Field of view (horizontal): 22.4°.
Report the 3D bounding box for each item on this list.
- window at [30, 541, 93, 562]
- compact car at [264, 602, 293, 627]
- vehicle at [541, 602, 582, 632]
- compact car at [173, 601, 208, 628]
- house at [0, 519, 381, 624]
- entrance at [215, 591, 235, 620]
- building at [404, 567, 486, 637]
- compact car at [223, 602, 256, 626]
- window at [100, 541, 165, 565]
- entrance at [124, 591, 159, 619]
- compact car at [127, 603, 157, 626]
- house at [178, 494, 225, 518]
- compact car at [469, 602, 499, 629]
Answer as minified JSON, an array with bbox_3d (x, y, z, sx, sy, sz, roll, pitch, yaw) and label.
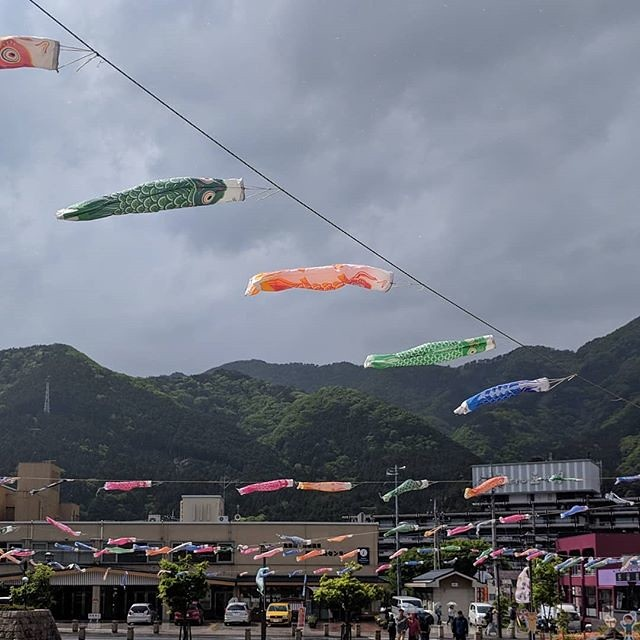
[{"bbox_3d":[-21.752,19.138,135.219,4.582,1.394,0.430,0,-46,-3],"label":"window"},{"bbox_3d":[-3.434,23.092,128.398,1.867,1.854,2.662,-2,-14,0],"label":"compact car"},{"bbox_3d":[18.546,22.701,125.249,3.890,1.527,2.027,0,-4,-13],"label":"vehicle"},{"bbox_3d":[-10.593,22.799,127.081,2.400,1.387,4.409,0,-11,3],"label":"compact car"},{"bbox_3d":[-11.718,20.483,135.014,29.978,8.508,4.745,0,-17,-5],"label":"house"},{"bbox_3d":[-8.187,23.192,135.099,1.877,1.087,2.710,0,2,0],"label":"entrance"},{"bbox_3d":[10.782,23.521,134.600,5.478,3.776,8.877,2,-19,-4],"label":"building"},{"bbox_3d":[-6.702,23.033,128.058,1.530,1.807,1.880,-16,-20,41],"label":"compact car"},{"bbox_3d":[-15.813,19.086,133.876,5.036,1.166,0.338,-1,-19,-3],"label":"window"},{"bbox_3d":[-14.731,23.056,131.311,3.487,2.044,4.986,-1,-4,2],"label":"entrance"},{"bbox_3d":[-14.232,23.038,128.324,1.576,0.914,2.428,-1,-4,3],"label":"compact car"},{"bbox_3d":[-10.637,16.485,143.514,3.296,1.431,2.747,0,-10,-5],"label":"house"},{"bbox_3d":[12.884,23.166,128.615,1.961,1.202,2.700,1,-18,-7],"label":"compact car"}]
